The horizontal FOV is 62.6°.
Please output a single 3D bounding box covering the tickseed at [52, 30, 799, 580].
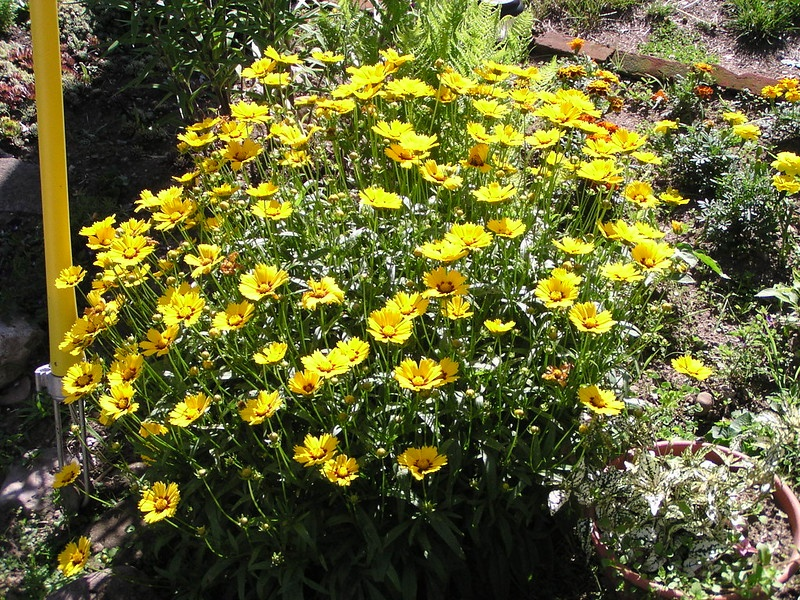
[{"bbox_3d":[0.087,-0.192,3.498,2.526,1.399,3.056,0,42,16],"label":"tickseed"}]
